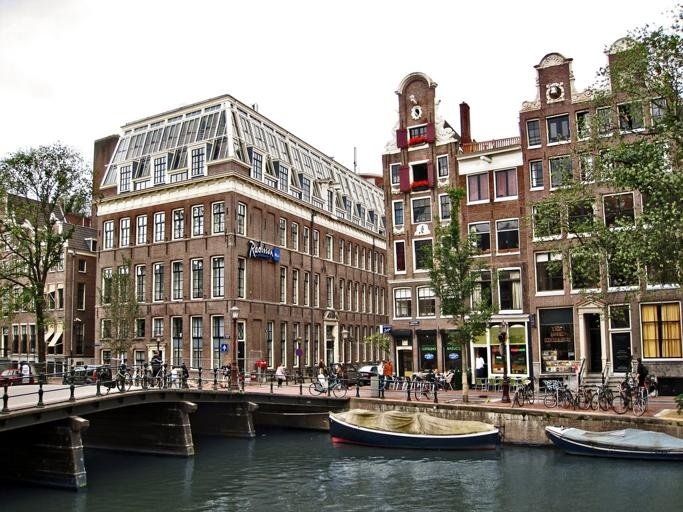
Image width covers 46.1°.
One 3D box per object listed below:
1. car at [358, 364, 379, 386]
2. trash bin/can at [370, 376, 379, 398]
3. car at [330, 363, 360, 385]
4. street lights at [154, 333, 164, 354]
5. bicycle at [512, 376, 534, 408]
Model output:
[{"bbox_3d":[1.854,8.120,55.595,1.155,1.053,1.938,-8,-21,25],"label":"car"},{"bbox_3d":[2.029,7.626,47.224,0.464,1.166,0.619,-3,-13,2],"label":"trash bin/can"},{"bbox_3d":[0.330,8.071,54.969,2.196,1.300,1.311,-2,-7,-1],"label":"car"},{"bbox_3d":[-13.761,6.671,60.965,0.738,1.685,0.722,-2,-13,-3],"label":"street lights"},{"bbox_3d":[9.988,7.542,43.988,0.916,1.311,2.493,-9,-15,25],"label":"bicycle"}]
